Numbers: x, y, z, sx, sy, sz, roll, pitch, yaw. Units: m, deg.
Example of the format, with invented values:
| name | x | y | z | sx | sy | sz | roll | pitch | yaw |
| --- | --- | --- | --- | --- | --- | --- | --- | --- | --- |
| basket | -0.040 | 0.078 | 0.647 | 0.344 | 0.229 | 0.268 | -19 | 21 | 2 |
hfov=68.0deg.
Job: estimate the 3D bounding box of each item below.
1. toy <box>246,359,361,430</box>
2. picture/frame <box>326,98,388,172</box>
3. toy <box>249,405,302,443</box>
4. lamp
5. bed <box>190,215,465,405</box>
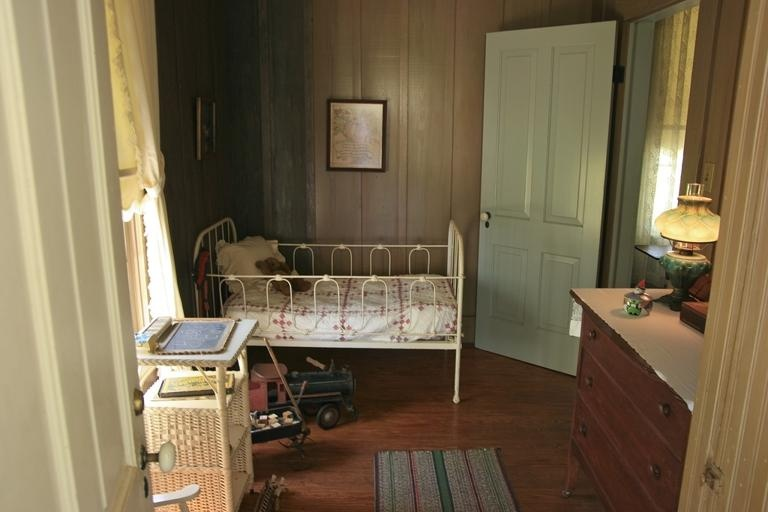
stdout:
| name | x | y | z | sx | sy | sz | roll | pitch | yaw |
| --- | --- | --- | --- | --- | --- | --- | --- | --- | --- |
| toy | -0.478 | 0.866 | 3.752 | 0.847 | 0.520 | 0.300 | -4 | 19 | -10 |
| picture/frame | -0.222 | -1.022 | 4.675 | 0.517 | 0.634 | 0.029 | 1 | 8 | -2 |
| toy | -0.631 | 1.012 | 3.367 | 0.325 | 0.166 | 0.221 | -6 | 14 | -22 |
| lamp | 1.341 | -0.047 | 2.555 | 0.256 | 0.546 | 0.309 | 3 | 14 | 15 |
| bed | -0.325 | 0.336 | 4.370 | 1.814 | 1.164 | 1.156 | -1 | 10 | -1 |
